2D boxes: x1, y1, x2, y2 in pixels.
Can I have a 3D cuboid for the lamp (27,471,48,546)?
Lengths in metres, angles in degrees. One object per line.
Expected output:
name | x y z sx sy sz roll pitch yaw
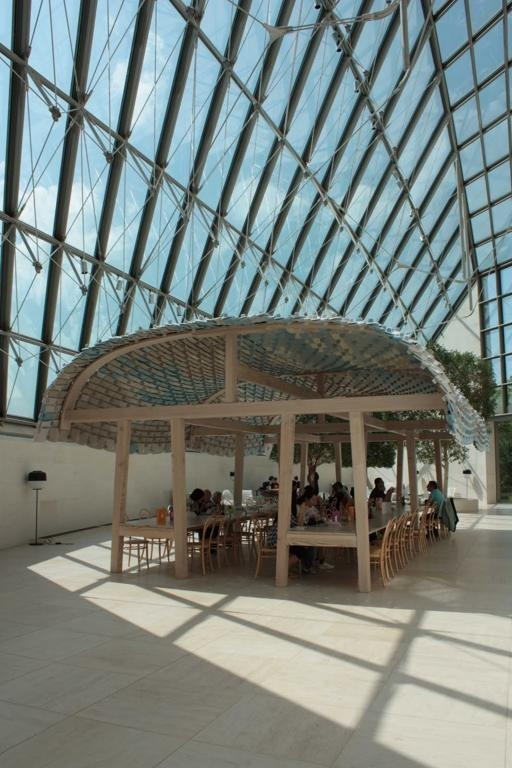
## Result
lamp | -6.312 3.535 13.041 0.497 2.014 1.071 4 -8 -27
